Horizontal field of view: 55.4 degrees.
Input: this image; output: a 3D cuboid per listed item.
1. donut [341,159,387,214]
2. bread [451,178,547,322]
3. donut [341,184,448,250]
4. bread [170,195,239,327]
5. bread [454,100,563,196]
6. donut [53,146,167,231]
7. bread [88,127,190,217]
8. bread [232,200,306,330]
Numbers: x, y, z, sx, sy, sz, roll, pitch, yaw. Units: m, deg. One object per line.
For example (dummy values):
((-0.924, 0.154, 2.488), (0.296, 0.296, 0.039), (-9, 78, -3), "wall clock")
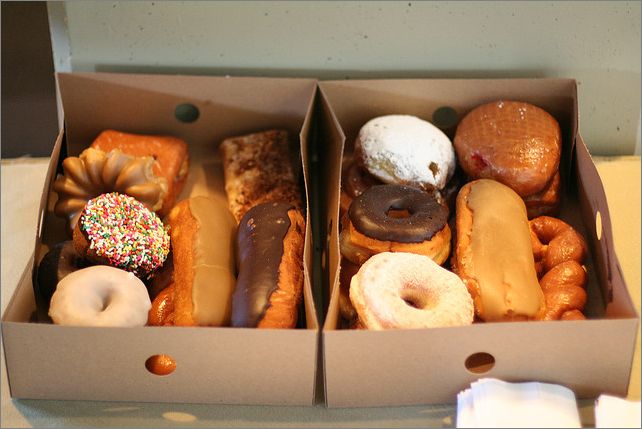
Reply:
((0.088, -0.087, 1.610), (0.123, 0.128, 0.038), (-8, -34, -4), "donut")
((0.418, 0.099, 1.474), (0.165, 0.331, 0.105), (1, -24, -4), "bread")
((0.186, 0.009, 1.487), (0.234, 0.250, 0.085), (-1, -58, -3), "donut")
((-0.277, 0.105, 1.441), (0.159, 0.330, 0.203), (7, -16, -19), "bread")
((0.487, -0.180, 1.551), (0.246, 0.243, 0.124), (0, -29, 6), "bread")
((-0.540, -0.099, 1.551), (0.222, 0.226, 0.088), (40, -28, 9), "donut")
((-0.510, -0.139, 1.719), (0.256, 0.212, 0.184), (12, -62, 20), "bread")
((-0.122, 0.111, 1.465), (0.170, 0.398, 0.127), (-1, -44, 1), "bread")
